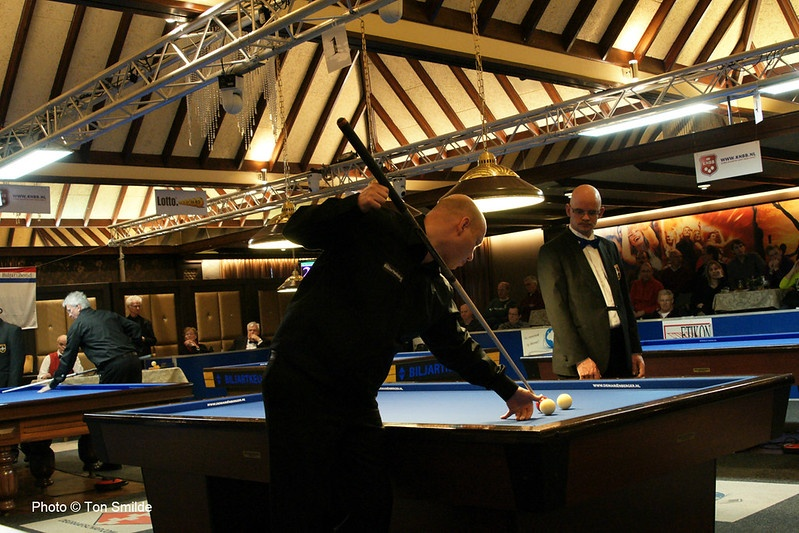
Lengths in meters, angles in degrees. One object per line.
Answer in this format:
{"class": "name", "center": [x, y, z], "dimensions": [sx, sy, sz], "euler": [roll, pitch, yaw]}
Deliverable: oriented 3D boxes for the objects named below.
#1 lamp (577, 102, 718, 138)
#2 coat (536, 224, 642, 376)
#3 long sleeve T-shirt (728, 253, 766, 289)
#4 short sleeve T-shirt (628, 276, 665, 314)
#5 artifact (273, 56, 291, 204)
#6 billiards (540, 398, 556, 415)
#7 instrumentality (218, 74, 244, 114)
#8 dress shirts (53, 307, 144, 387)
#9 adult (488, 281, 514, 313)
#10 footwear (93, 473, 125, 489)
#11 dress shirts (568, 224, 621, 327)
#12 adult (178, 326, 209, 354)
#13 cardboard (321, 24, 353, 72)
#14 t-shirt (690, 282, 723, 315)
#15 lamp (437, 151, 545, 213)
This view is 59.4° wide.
{"class": "lamp", "center": [3.283, -1.954, 9.350], "dimensions": [1.626, 0.137, 0.515], "euler": [-7, -3, 34]}
{"class": "coat", "center": [1.471, 0.275, 5.418], "dimensions": [0.717, 1.107, 0.437], "euler": [-6, -2, 4]}
{"class": "long sleeve T-shirt", "center": [7.128, 0.123, 14.396], "dimensions": [0.683, 0.757, 0.453], "euler": [-4, -7, 40]}
{"class": "short sleeve T-shirt", "center": [4.997, 0.590, 14.247], "dimensions": [0.462, 0.713, 0.693], "euler": [-10, 14, -39]}
{"class": "artifact", "center": [-1.901, -2.273, 11.672], "dimensions": [0.167, 3.200, 0.116], "euler": [12, -29, -41]}
{"class": "billiards", "center": [0.875, 0.828, 4.141], "dimensions": [0.096, 0.092, 0.127], "euler": [-6, -2, 7]}
{"class": "instrumentality", "center": [-1.916, -1.995, 8.113], "dimensions": [0.257, 0.384, 0.266], "euler": [-1, -1, 35]}
{"class": "dress shirts", "center": [-3.401, 0.924, 8.001], "dimensions": [0.984, 0.634, 0.527], "euler": [-4, -3, -41]}
{"class": "adult", "center": [2.128, 0.630, 14.513], "dimensions": [0.318, 0.443, 0.647], "euler": [13, -8, -41]}
{"class": "footwear", "center": [-3.052, 2.292, 7.455], "dimensions": [0.235, 0.091, 0.169], "euler": [2, -6, -5]}
{"class": "dress shirts", "center": [1.551, 0.094, 5.385], "dimensions": [0.449, 0.604, 0.144], "euler": [-3, -19, -38]}
{"class": "adult", "center": [-4.469, 1.604, 15.235], "dimensions": [0.830, 0.353, 0.474], "euler": [4, 3, 35]}
{"class": "cardboard", "center": [-0.606, -2.163, 6.899], "dimensions": [0.257, 0.407, 0.484], "euler": [-6, -2, -4]}
{"class": "t-shirt", "center": [5.695, 0.587, 13.034], "dimensions": [0.557, 0.600, 1.276], "euler": [-7, -2, 22]}
{"class": "lamp", "center": [0.735, -0.721, 5.730], "dimensions": [0.772, 0.382, 0.770], "euler": [-4, 3, 23]}
